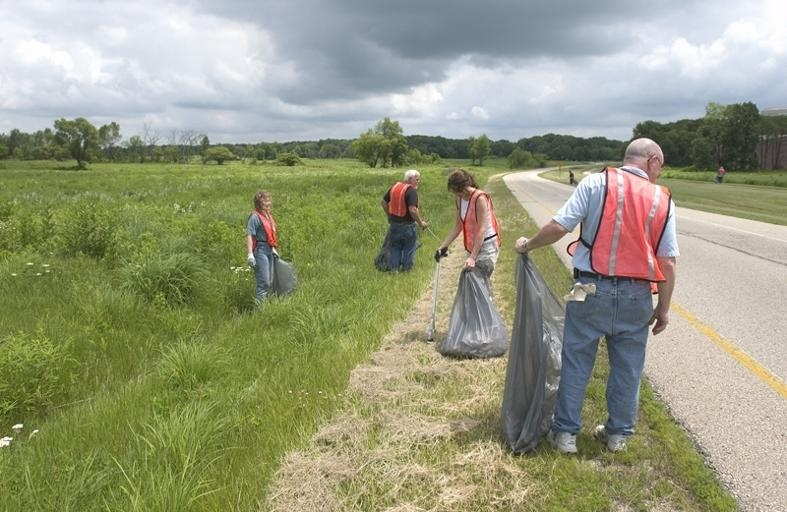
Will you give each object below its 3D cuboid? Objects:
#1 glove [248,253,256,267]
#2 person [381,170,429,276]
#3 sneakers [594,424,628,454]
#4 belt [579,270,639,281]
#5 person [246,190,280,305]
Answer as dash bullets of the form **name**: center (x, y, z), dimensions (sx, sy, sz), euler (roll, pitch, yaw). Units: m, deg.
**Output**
- **glove**: center (-2.832, 0.054, 11.751), dimensions (0.159, 0.231, 0.243), euler (7, 32, -6)
- **person**: center (0.203, -0.762, 13.517), dimensions (0.837, 2.349, 1.275), euler (-5, 13, -24)
- **sneakers**: center (2.981, 2.480, 8.089), dimensions (0.204, 0.259, 0.540), euler (-6, 19, -10)
- **belt**: center (2.818, 0.265, 7.746), dimensions (0.739, 0.101, 0.058), euler (4, 12, 14)
- **person**: center (-2.710, -0.197, 11.975), dimensions (0.524, 2.205, 0.821), euler (2, 12, 9)
